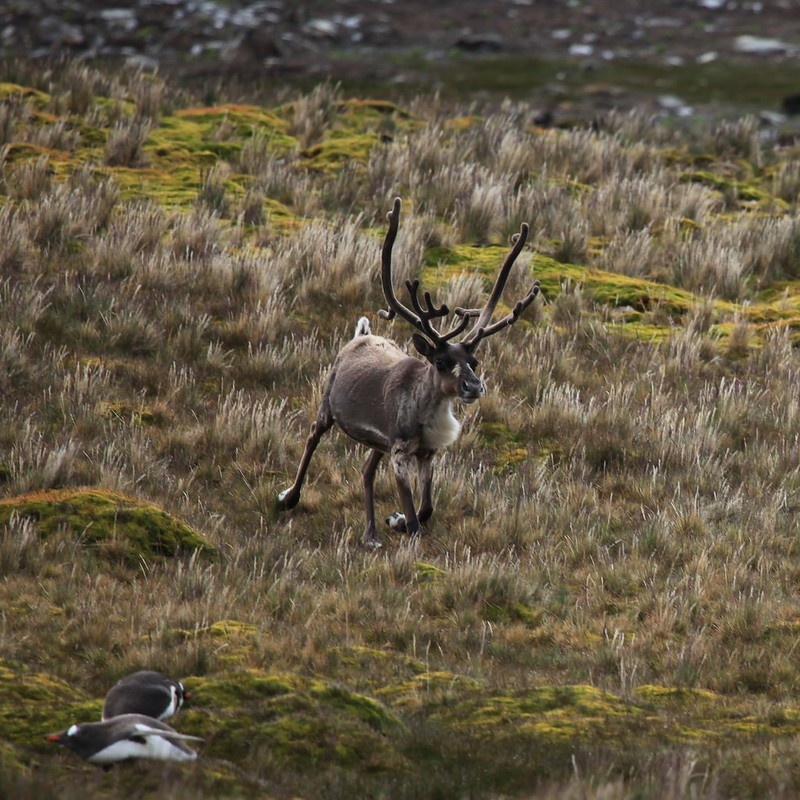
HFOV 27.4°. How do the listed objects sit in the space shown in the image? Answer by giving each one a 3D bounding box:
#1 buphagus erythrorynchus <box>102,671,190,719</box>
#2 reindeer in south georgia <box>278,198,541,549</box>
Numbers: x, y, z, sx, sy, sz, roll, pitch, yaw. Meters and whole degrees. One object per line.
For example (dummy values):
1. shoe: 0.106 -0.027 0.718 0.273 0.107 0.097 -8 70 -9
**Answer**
1. buphagus erythrorynchus: -1.829 2.126 11.666 0.553 0.300 0.239 6 8 -12
2. reindeer in south georgia: 0.331 -0.148 14.609 1.908 3.475 2.643 -8 18 -13
